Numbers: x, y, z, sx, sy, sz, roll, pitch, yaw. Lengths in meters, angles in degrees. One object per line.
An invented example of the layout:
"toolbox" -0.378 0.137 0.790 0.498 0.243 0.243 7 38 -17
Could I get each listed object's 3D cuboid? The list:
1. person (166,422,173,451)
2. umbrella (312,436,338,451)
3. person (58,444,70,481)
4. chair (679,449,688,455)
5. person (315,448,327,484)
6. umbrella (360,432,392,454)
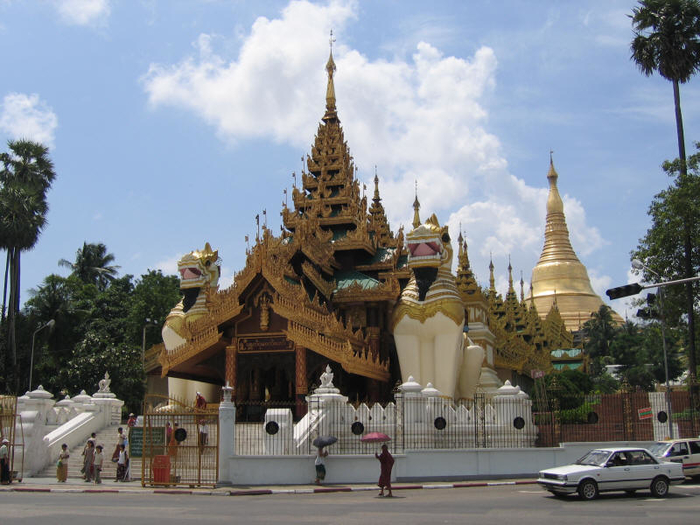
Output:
"person" -6.382 6.118 39.397 0.231 1.039 1.135 1 -13 -10
"umbrella" -0.896 6.356 39.192 0.798 0.592 1.504 -2 -14 -2
"person" -10.473 7.325 40.585 0.372 1.465 1.877 2 -14 -15
"chair" 11.316 6.450 37.852 0.231 0.177 0.242 -9 -8 28
"person" -1.010 7.145 39.051 0.421 1.218 0.765 -1 -13 -3
"umbrella" 0.901 6.154 38.339 0.953 0.657 1.025 -2 -4 3
